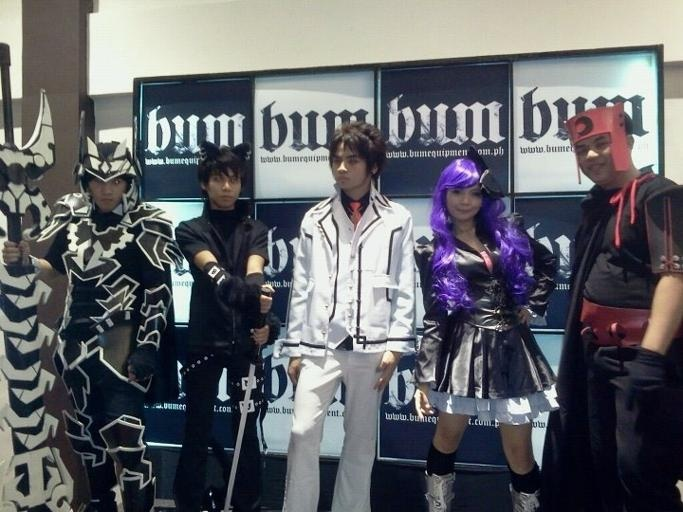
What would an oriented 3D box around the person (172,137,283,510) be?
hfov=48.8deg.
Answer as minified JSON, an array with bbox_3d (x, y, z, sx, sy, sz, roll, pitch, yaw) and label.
[{"bbox_3d":[-0.718,0.444,4.646,0.655,2.297,0.407,0,5,-1],"label":"person"}]

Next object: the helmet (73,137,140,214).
[{"bbox_3d":[-1.407,-0.499,4.557,0.370,0.484,0.442,-2,9,-5],"label":"helmet"}]
